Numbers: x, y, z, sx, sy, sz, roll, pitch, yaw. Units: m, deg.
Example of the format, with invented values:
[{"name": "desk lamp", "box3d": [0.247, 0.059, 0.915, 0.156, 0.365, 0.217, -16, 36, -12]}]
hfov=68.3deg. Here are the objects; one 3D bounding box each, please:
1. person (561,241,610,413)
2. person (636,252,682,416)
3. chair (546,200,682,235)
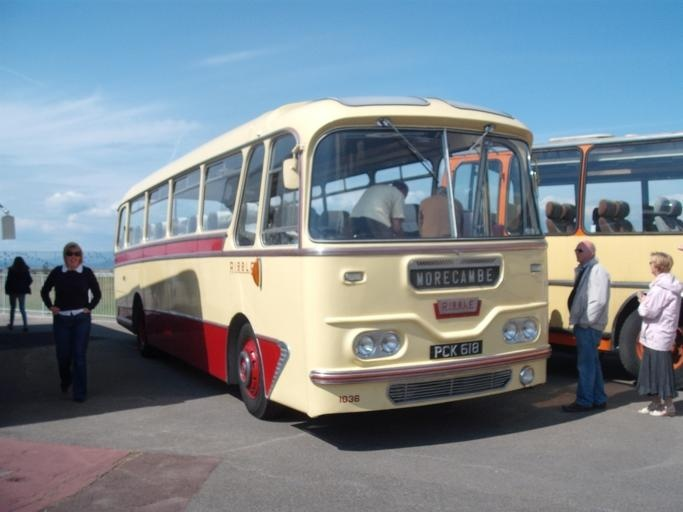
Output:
[{"name": "person", "box3d": [3.355, 0.955, 6.908, 0.541, 2.337, 0.490, 0, 0, 30]}, {"name": "person", "box3d": [4.276, 1.040, 6.779, 0.537, 2.170, 0.474, 0, 0, 25]}, {"name": "chair", "box3d": [4.688, -0.706, 8.758, 2.070, 0.588, 0.269, 0, 0, 28]}]
